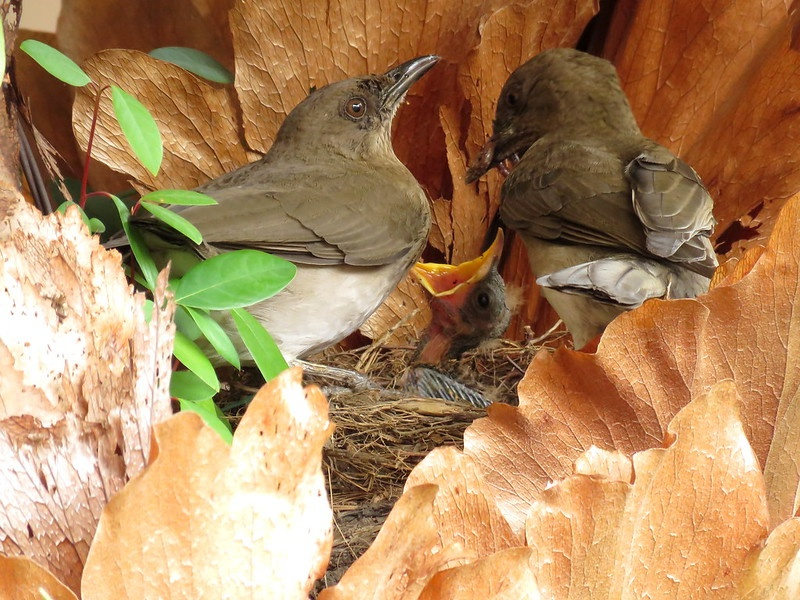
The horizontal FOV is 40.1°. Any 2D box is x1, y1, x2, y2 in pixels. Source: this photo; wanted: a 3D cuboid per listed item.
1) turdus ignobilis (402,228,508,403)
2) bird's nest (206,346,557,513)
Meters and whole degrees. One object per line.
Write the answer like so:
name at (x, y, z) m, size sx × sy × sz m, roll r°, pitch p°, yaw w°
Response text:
turdus ignobilis at (0.085, 0.020, 1.715) m, size 0.180 × 0.198 × 0.093 m, roll 33°, pitch 44°, yaw 10°
bird's nest at (0.045, 0.158, 1.401) m, size 0.248 × 0.099 × 0.263 m, roll -8°, pitch 17°, yaw 2°
